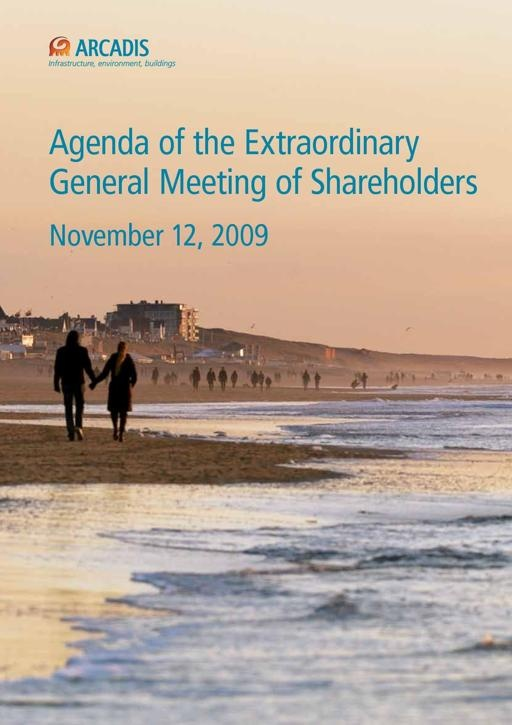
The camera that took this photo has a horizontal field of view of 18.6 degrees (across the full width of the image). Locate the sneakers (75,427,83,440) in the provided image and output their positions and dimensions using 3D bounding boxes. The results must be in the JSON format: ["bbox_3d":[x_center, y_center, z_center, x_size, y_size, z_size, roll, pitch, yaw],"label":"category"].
[{"bbox_3d":[-2.068,0.893,18.423,0.063,0.226,0.082,-1,22,1],"label":"sneakers"}]
